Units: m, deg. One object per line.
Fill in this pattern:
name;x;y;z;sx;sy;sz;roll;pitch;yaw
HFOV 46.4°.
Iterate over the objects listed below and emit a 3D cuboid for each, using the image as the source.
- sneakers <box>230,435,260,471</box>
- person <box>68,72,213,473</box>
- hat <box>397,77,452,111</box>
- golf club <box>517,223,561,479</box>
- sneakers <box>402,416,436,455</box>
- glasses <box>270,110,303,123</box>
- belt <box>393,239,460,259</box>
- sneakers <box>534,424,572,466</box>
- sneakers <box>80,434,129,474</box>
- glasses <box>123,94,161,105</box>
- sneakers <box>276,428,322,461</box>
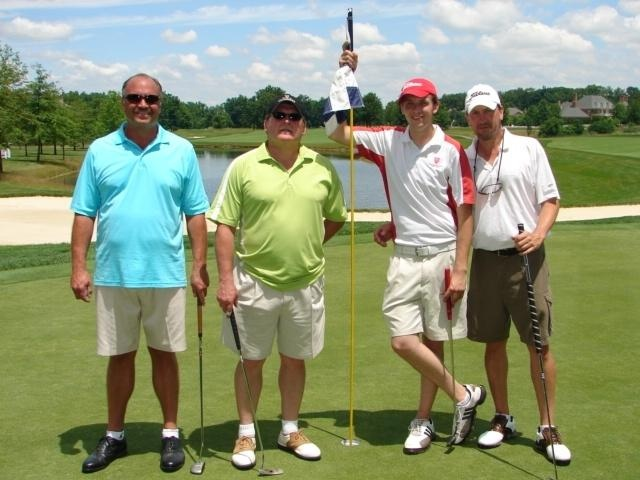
sneakers;-0.548;1.559;5.440;0.224;0.231;0.600;1;-4;-7
person;-1.321;0.164;5.570;1.032;2.784;0.693;-4;9;-18
hat;0.756;-1.149;5.757;0.305;0.197;0.197;-1;8;6
golf club;1.645;0.741;5.583;0.245;1.699;0.166;-6;-1;22
sneakers;0.744;1.473;5.654;0.233;0.191;0.321;0;8;8
glasses;-0.249;-0.931;5.599;0.221;0.082;0.037;-3;9;-8
belt;0.815;0.070;5.779;0.457;0.114;0.121;0;8;8
sneakers;1.682;1.477;5.403;0.127;0.143;0.348;-1;0;-12
sneakers;-1.539;1.534;5.336;0.120;0.132;0.346;0;0;22
glasses;-1.321;-1.051;5.551;0.253;0.078;0.093;-3;8;-13
sneakers;-0.160;1.521;5.568;0.348;0.133;0.134;3;6;44
